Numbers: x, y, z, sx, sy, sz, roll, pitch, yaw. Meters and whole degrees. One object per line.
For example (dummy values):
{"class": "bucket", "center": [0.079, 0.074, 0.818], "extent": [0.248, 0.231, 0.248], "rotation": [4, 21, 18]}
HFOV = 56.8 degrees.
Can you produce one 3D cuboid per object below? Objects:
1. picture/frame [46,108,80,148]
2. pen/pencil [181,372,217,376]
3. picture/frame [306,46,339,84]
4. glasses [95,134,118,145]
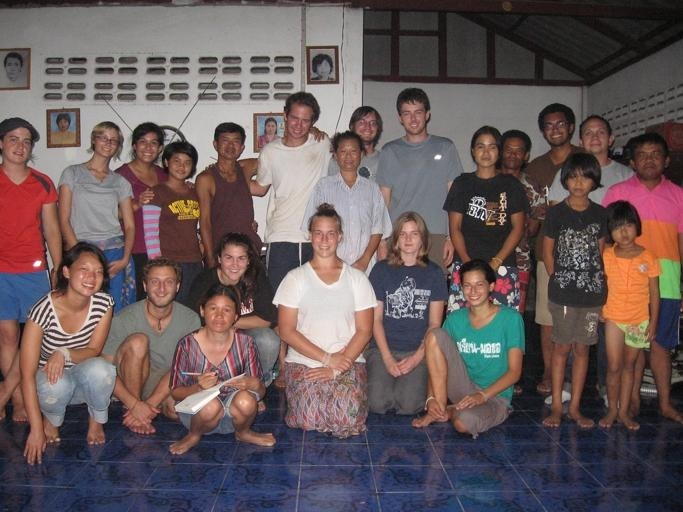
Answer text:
{"class": "picture/frame", "center": [-2.707, -1.259, 6.156], "extent": [0.394, 0.428, 0.031], "rotation": [0, 5, 3]}
{"class": "pen/pencil", "center": [-0.862, 0.708, 3.796], "extent": [0.189, 0.026, 0.027], "rotation": [-4, -1, -2]}
{"class": "picture/frame", "center": [-0.199, -1.869, 6.117], "extent": [0.374, 0.387, 0.028], "rotation": [-1, 6, 0]}
{"class": "glasses", "center": [-1.703, -0.840, 4.575], "extent": [0.153, 0.062, 0.038], "rotation": [-5, 14, -25]}
